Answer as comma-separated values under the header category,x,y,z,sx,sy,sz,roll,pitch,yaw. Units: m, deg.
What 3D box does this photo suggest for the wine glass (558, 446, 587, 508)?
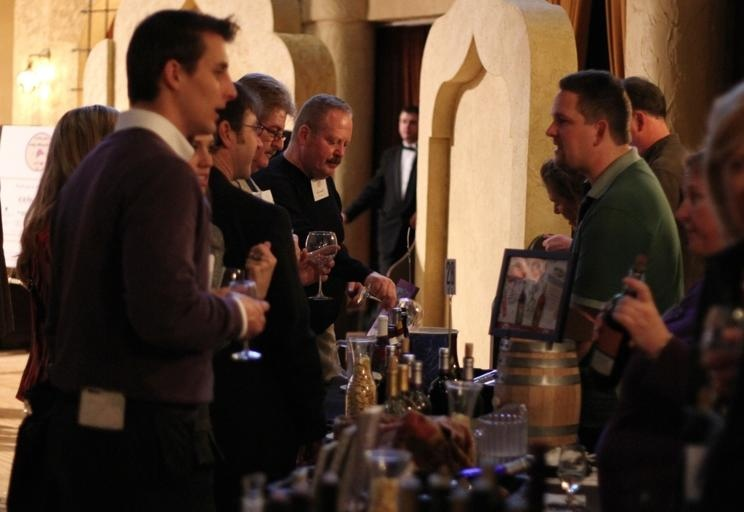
category,x,y,z,sx,sy,sz,roll,pitch,yaw
wine glass,0.623,0.678,2.529,0.089,0.168,0.191,-1,1,13

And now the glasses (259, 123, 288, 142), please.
category,x,y,z,sx,sy,sz,roll,pitch,yaw
glasses,-0.468,-0.586,3.872,0.111,0.035,0.114,11,4,33

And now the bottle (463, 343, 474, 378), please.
category,x,y,z,sx,sy,sz,roll,pitch,yaw
bottle,0.320,0.351,2.720,0.035,0.036,0.157,-5,27,9

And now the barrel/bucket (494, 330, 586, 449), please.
category,x,y,z,sx,sy,sz,roll,pitch,yaw
barrel/bucket,0.576,0.460,2.800,0.327,0.373,0.344,1,-5,0

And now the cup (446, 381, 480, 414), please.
category,x,y,z,sx,sy,sz,roll,pitch,yaw
cup,0.282,0.443,2.561,0.105,0.113,0.097,1,-7,0
